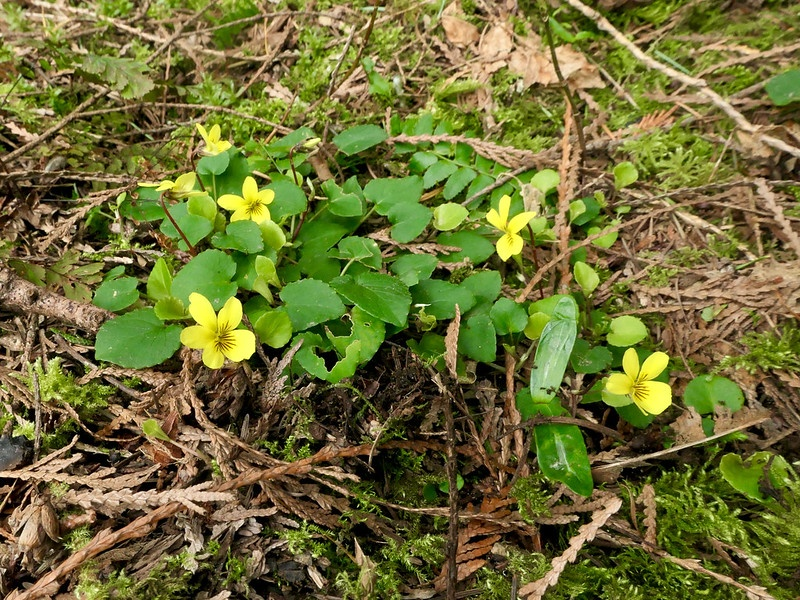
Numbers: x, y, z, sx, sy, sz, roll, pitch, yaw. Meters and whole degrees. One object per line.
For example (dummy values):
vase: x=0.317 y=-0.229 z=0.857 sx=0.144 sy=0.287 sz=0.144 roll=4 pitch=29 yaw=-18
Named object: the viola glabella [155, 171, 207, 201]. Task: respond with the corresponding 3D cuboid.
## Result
viola glabella: x=-0.980 y=-0.504 z=3.167 sx=0.157 sy=0.064 sz=0.152 roll=39 pitch=90 yaw=3
